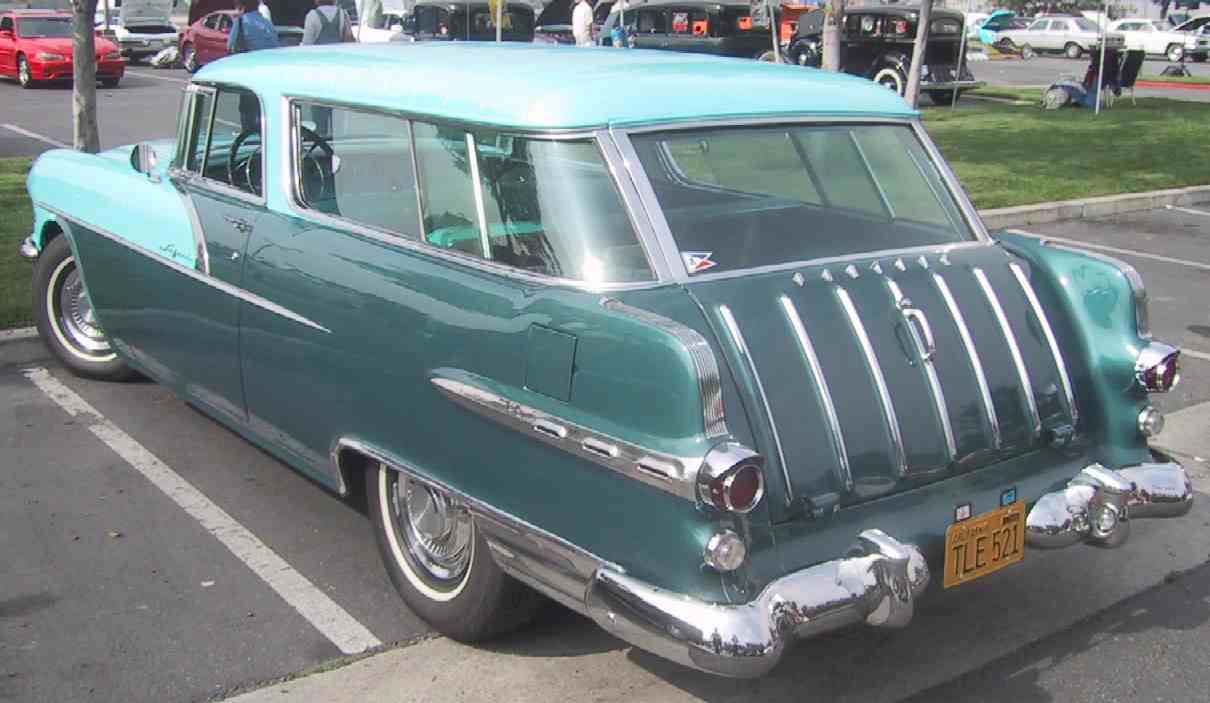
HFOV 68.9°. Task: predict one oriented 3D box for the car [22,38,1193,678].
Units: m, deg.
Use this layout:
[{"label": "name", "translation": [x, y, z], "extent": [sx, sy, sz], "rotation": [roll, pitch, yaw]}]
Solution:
[{"label": "car", "translation": [-0.625, -0.371, 5.116], "extent": [5.645, 1.693, 3.299], "rotation": [20, 25, 41]}]
